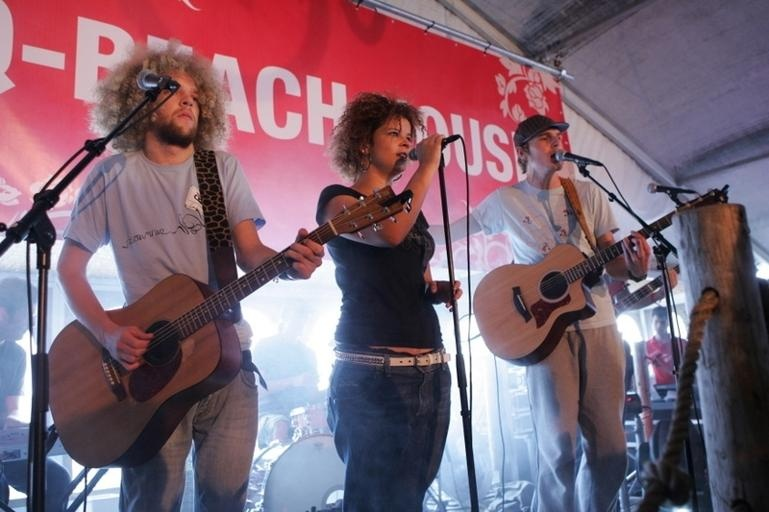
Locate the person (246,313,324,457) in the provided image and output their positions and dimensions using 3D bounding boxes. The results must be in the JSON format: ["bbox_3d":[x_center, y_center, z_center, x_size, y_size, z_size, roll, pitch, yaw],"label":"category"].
[{"bbox_3d":[-0.865,1.133,5.413,0.588,1.221,0.268,0,-7,-9],"label":"person"}]

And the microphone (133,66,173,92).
[{"bbox_3d":[-1.390,-1.057,3.830,0.200,0.140,0.109,13,-13,26],"label":"microphone"}]

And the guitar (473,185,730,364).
[{"bbox_3d":[1.517,0.089,4.631,1.833,0.769,0.269,-32,-42,10],"label":"guitar"}]

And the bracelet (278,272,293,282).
[{"bbox_3d":[-0.608,0.118,3.856,0.099,0.028,0.061,-12,-15,19],"label":"bracelet"}]

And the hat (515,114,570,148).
[{"bbox_3d":[1.250,-0.979,5.136,0.341,0.193,0.255,-29,-3,39],"label":"hat"}]

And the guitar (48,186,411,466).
[{"bbox_3d":[-1.001,0.359,3.917,2.138,0.848,0.322,-36,-26,-16],"label":"guitar"}]

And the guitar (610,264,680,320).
[{"bbox_3d":[2.415,0.327,5.945,0.767,0.110,0.322,-33,-64,5],"label":"guitar"}]

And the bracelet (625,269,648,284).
[{"bbox_3d":[1.829,0.158,4.675,0.136,0.109,0.138,1,-7,-42],"label":"bracelet"}]
